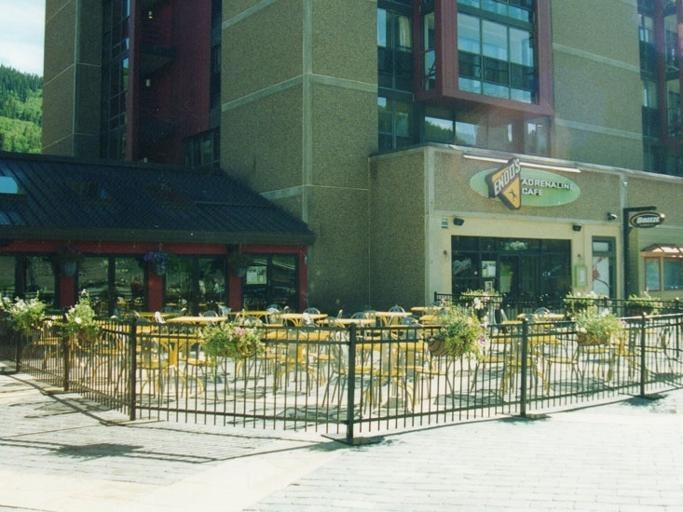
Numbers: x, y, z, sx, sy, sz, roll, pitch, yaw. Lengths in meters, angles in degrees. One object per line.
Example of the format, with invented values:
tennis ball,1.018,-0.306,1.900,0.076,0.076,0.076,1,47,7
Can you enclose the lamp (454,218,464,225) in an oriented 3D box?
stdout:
lamp,4.040,-1.148,32.057,0.470,0.261,0.200,6,-8,-41

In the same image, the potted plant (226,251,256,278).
potted plant,-3.340,0.313,30.831,0.783,0.818,0.742,5,-6,-40

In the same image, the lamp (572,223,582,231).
lamp,8.953,-1.037,35.216,0.190,0.299,0.595,-4,-8,44

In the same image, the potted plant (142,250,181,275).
potted plant,-5.768,0.233,29.550,0.758,0.758,0.763,-2,-3,20
